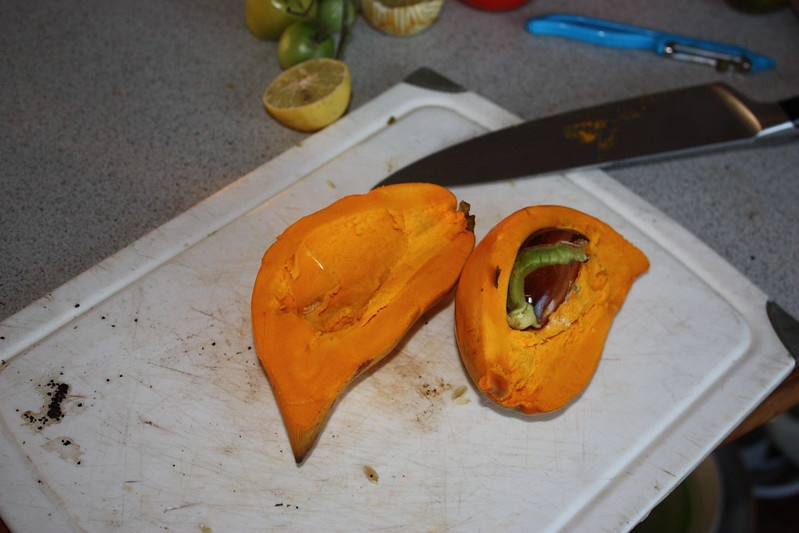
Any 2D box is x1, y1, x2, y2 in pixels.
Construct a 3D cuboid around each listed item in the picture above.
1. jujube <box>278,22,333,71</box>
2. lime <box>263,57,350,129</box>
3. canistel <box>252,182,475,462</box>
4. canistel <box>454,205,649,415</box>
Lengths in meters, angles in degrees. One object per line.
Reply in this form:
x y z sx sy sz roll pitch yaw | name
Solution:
-0.212 -0.474 1.685 0.096 0.121 0.109 -20 82 -27 | jujube
-0.191 -0.343 1.626 0.185 0.118 0.197 -11 41 1 | lime
-0.096 0.038 1.376 0.292 0.132 0.533 43 83 4 | canistel
0.249 0.064 1.367 0.290 0.096 0.383 31 82 3 | canistel
